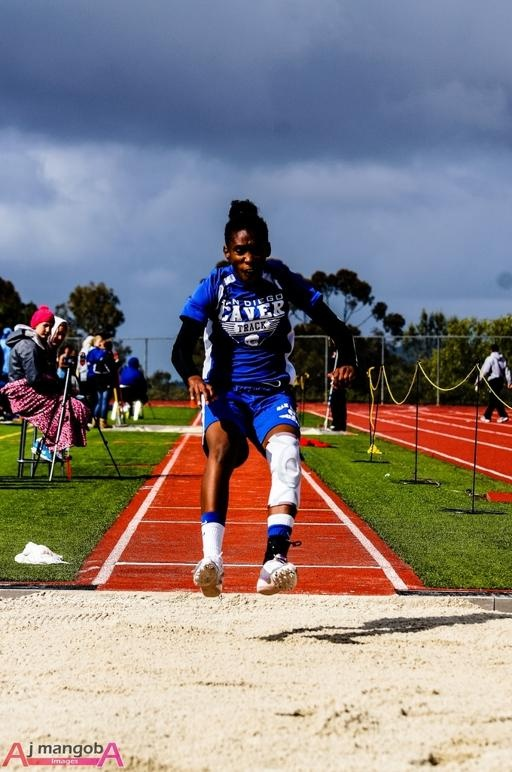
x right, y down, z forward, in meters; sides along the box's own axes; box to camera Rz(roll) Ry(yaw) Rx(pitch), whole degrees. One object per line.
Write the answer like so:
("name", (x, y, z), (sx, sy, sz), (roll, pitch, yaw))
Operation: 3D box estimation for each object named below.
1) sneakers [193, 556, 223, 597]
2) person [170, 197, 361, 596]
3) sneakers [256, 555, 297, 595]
("sneakers", (-0.167, 0.730, 2.977), (0.077, 0.091, 0.202), (0, -32, 9))
("person", (0.039, 0.072, 3.304), (0.778, 1.787, 0.735), (2, -1, -11))
("sneakers", (0.082, 0.728, 2.965), (0.112, 0.081, 0.226), (-4, -7, -7))
